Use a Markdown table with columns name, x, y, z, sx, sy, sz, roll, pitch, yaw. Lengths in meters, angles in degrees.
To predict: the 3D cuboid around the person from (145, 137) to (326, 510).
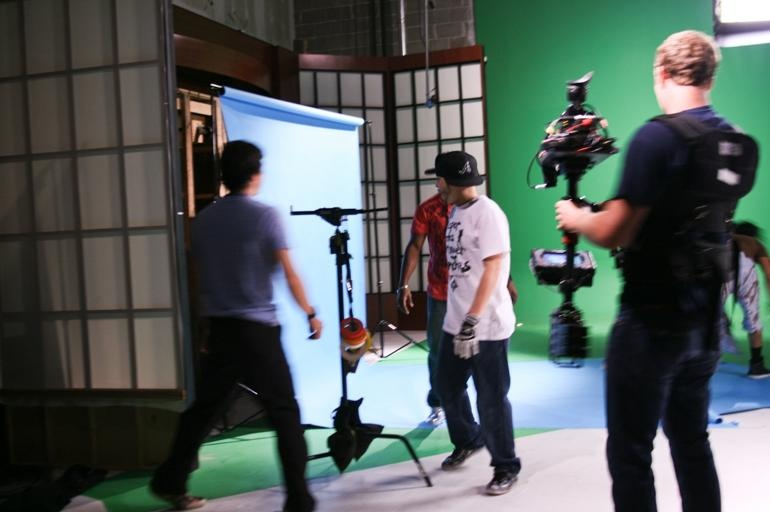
| name | x | y | z | sx | sy | sz | roll | pitch | yaw |
| --- | --- | --- | --- | --- | --- | --- | --- | --- | --- |
| person | -0.787 | 0.356 | 3.765 | 0.779 | 1.855 | 0.505 | -2 | 11 | 5 |

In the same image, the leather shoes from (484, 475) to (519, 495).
| name | x | y | z | sx | sy | sz | roll | pitch | yaw |
| --- | --- | --- | --- | --- | --- | --- | --- | --- | --- |
| leather shoes | 0.665 | 1.286 | 4.118 | 0.205 | 0.074 | 0.079 | 0 | -1 | -45 |

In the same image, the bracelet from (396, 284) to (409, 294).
| name | x | y | z | sx | sy | sz | roll | pitch | yaw |
| --- | --- | --- | --- | --- | --- | --- | --- | --- | --- |
| bracelet | 0.119 | 0.231 | 5.098 | 0.083 | 0.051 | 0.104 | -5 | -4 | 2 |

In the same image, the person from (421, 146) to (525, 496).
| name | x | y | z | sx | sy | sz | roll | pitch | yaw |
| --- | --- | --- | --- | --- | --- | --- | --- | --- | --- |
| person | 0.525 | 0.363 | 4.169 | 0.474 | 1.898 | 0.558 | -1 | 11 | 9 |

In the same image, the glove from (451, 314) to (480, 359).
| name | x | y | z | sx | sy | sz | roll | pitch | yaw |
| --- | --- | --- | --- | --- | --- | --- | --- | --- | --- |
| glove | 0.443 | 0.448 | 3.990 | 0.164 | 0.213 | 0.075 | -6 | 0 | 5 |

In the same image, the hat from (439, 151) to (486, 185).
| name | x | y | z | sx | sy | sz | roll | pitch | yaw |
| --- | --- | --- | --- | --- | --- | --- | --- | --- | --- |
| hat | 0.444 | -0.500 | 4.163 | 0.193 | 0.120 | 0.243 | -15 | 21 | -39 |

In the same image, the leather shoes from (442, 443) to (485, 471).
| name | x | y | z | sx | sy | sz | roll | pitch | yaw |
| --- | --- | --- | --- | --- | --- | --- | --- | --- | --- |
| leather shoes | 0.461 | 1.213 | 4.460 | 0.293 | 0.104 | 0.095 | -16 | 6 | -26 |

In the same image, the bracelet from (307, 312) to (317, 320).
| name | x | y | z | sx | sy | sz | roll | pitch | yaw |
| --- | --- | --- | --- | --- | --- | --- | --- | --- | --- |
| bracelet | -0.413 | 0.333 | 4.014 | 0.066 | 0.043 | 0.062 | 0 | -1 | 0 |
